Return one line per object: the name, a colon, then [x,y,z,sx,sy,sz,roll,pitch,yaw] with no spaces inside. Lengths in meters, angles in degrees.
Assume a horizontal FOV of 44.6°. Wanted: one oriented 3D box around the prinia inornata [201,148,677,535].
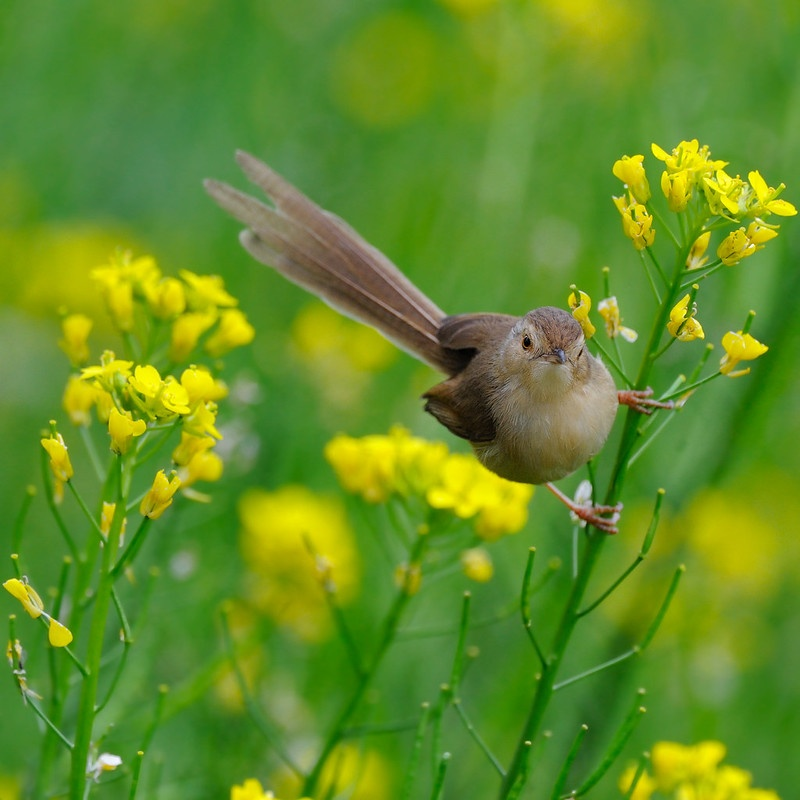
prinia inornata: [0.117,-0.154,2.959,0.424,1.039,0.737,-37,-46,-40]
